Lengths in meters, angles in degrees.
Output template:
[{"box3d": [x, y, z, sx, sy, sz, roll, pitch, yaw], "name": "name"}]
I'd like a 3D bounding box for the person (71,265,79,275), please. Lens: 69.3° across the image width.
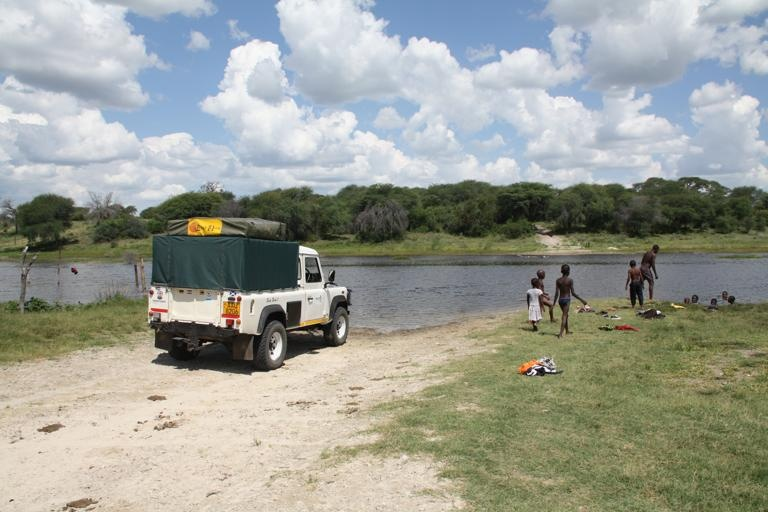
[{"box3d": [-31.386, 1.428, 56.343, 0.666, 0.840, 1.462, -43, 21, -28], "name": "person"}]
